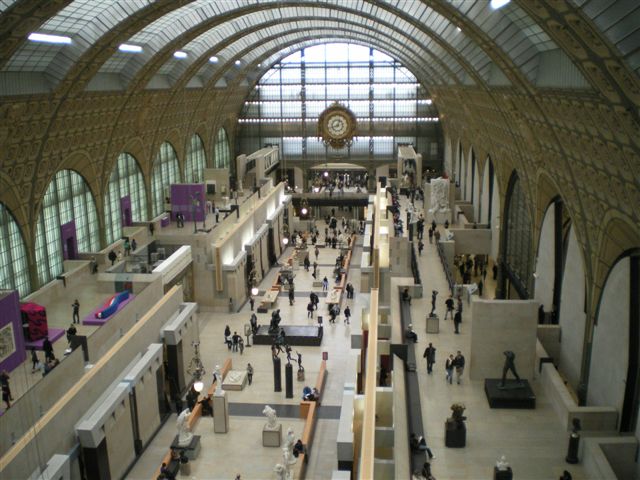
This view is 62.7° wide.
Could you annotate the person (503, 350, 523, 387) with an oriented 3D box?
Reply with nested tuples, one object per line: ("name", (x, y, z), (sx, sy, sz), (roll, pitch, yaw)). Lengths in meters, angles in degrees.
("person", (8.500, 5.706, 23.478), (0.797, 1.510, 2.244), (-2, -7, 20))

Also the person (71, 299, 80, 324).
("person", (-12.487, 3.706, 26.923), (0.318, 1.166, 1.494), (4, -8, -26))

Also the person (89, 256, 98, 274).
("person", (-15.101, 1.706, 34.987), (0.529, 1.193, 0.707), (2, 19, 3))

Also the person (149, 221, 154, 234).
("person", (-13.023, -0.882, 40.628), (0.323, 1.093, 1.524), (3, -7, -20))

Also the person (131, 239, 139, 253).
("person", (-13.922, 0.348, 39.385), (0.462, 0.940, 1.495), (3, -7, -20))

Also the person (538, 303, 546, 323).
("person", (12.269, 4.141, 29.133), (0.353, 1.034, 1.046), (-2, -7, 24))

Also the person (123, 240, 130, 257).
("person", (-14.534, 0.512, 39.642), (0.374, 1.453, 1.484), (3, -7, -25))

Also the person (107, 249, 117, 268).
("person", (-14.489, 1.311, 36.552), (0.446, 1.548, 0.783), (3, 15, 17))
